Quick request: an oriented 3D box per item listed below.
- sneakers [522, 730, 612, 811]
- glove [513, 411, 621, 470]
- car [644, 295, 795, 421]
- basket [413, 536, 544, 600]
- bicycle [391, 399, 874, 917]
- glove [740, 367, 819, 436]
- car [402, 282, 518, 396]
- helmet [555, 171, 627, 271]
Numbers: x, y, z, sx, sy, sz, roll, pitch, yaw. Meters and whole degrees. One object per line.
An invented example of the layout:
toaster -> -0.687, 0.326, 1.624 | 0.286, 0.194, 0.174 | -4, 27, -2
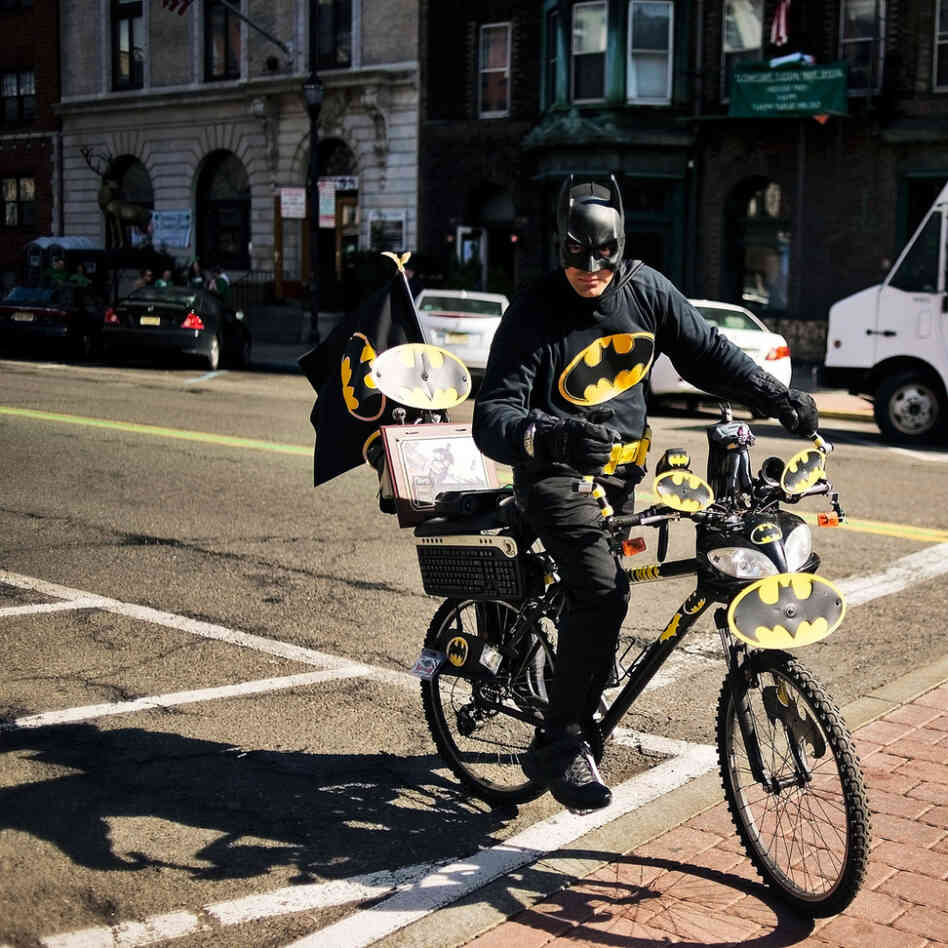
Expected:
sneakers -> 0.266, 0.862, 4.467 | 0.156, 0.148, 0.352 | -7, 27, -46
glove -> 0.252, -0.084, 4.046 | 0.235, 0.132, 0.094 | 13, -36, 32
car -> 3.087, -1.419, 17.697 | 1.550, 1.018, 3.095 | 0, 7, -5
basket -> 0.061, 0.277, 4.968 | 0.383, 0.220, 0.085 | 0, 17, 35
bicycle -> 0.455, 0.536, 4.767 | 0.930, 1.338, 2.161 | 8, 0, -29
glove -> 0.963, -0.220, 4.556 | 0.245, 0.155, 0.098 | 37, 9, 34
car -> -0.334, -1.912, 19.963 | 1.211, 0.932, 2.060 | 3, 13, 9
helmet -> 0.349, -0.790, 4.507 | 0.234, 0.273, 0.324 | 0, 37, 2
